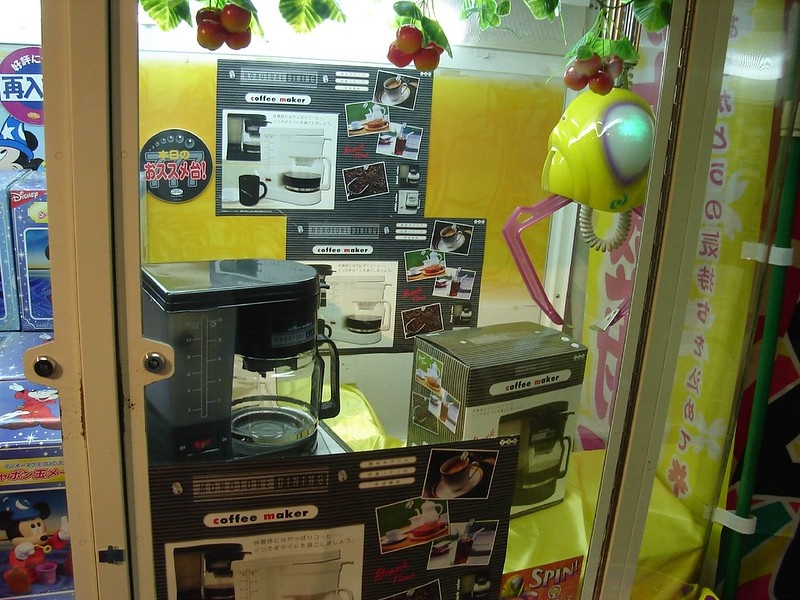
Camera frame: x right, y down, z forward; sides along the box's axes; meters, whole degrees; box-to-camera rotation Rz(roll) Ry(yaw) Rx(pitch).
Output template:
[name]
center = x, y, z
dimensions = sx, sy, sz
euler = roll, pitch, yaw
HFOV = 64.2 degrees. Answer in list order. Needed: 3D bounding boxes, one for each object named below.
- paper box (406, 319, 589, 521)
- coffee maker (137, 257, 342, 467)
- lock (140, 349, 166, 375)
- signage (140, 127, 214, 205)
[paper box]
center = 0.204, 0.254, 1.341
dimensions = 0.298, 0.351, 0.199
euler = -3, 12, -27
[coffee maker]
center = -0.305, 0.147, 1.250
dimensions = 0.345, 0.335, 0.200
euler = -4, 7, -35
[lock]
center = -0.421, 0.108, 1.091
dimensions = 0.035, 0.036, 0.035
euler = 16, 13, -20
[signage]
center = -0.390, -0.226, 1.096
dimensions = 0.133, 0.140, 0.014
euler = -9, 34, -35
